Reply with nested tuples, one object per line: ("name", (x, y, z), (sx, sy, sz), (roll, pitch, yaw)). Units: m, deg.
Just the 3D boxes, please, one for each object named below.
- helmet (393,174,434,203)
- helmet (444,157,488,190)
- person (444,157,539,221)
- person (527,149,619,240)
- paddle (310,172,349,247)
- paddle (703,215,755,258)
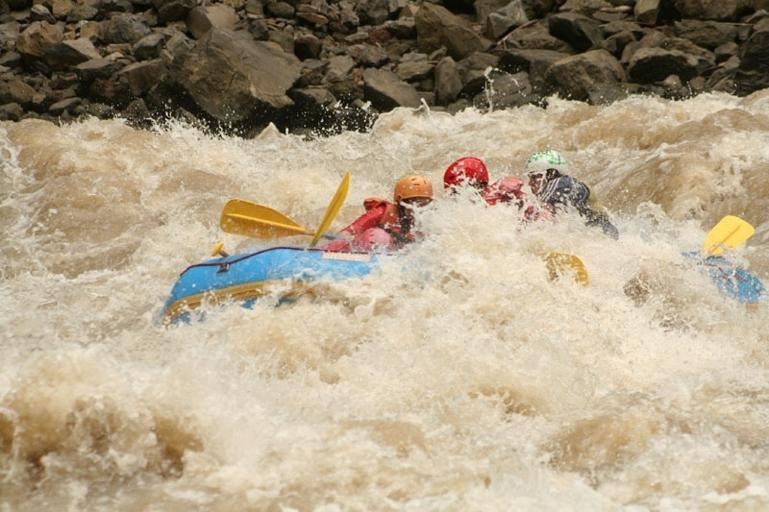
("helmet", (0.430, -0.948, 22.001), (0.342, 0.463, 0.344), (3, 41, -3))
("helmet", (1.235, -1.166, 22.371), (0.537, 0.409, 0.456), (1, 59, 33))
("person", (1.526, -1.073, 22.446), (0.827, 1.545, 0.663), (-8, 100, -37))
("person", (2.755, -0.797, 22.351), (1.710, 0.748, 1.195), (19, 28, 26))
("paddle", (-0.808, -0.648, 23.100), (0.194, 0.175, 1.186), (28, 93, 24))
("paddle", (4.827, -0.302, 21.784), (0.394, 0.130, 0.756), (45, 110, 9))
